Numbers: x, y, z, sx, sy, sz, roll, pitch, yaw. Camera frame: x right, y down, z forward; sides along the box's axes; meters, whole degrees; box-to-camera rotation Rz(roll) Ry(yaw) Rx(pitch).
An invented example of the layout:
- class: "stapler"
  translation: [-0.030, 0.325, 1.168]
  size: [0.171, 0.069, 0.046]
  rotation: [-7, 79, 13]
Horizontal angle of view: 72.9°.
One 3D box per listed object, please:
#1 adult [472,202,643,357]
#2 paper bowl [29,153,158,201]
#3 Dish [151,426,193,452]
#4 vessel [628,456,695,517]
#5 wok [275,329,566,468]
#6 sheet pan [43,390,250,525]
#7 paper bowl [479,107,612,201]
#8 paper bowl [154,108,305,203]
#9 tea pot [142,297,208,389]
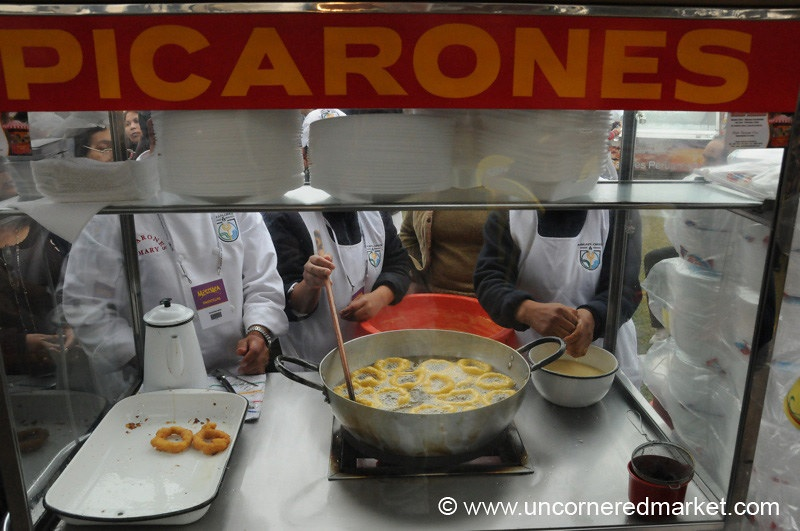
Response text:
- class: "adult"
  translation: [0.521, 0.126, 1.731]
  size: [0.492, 0.674, 0.423]
  rotation: [-6, 14, 10]
- class: "paper bowl"
  translation: [-0.651, -0.180, 1.178]
  size: [0.146, 0.054, 0.147]
  rotation: [0, 13, 0]
- class: "Dish"
  translation: [-0.570, 0.441, 1.357]
  size: [0.066, 0.022, 0.067]
  rotation: [10, 14, 23]
- class: "vessel"
  translation: [0.605, 0.514, 1.253]
  size: [0.133, 0.091, 0.119]
  rotation: [-1, 10, 24]
- class: "wok"
  translation: [0.042, 0.315, 1.349]
  size: [0.678, 0.304, 0.296]
  rotation: [2, -5, -14]
- class: "sheet pan"
  translation: [-0.595, 0.459, 1.323]
  size: [0.378, 0.258, 0.293]
  rotation: [0, -5, 1]
- class: "paper bowl"
  translation: [0.322, -0.225, 1.180]
  size: [0.183, 0.172, 0.243]
  rotation: [7, 11, 44]
- class: "paper bowl"
  translation: [-0.356, -0.236, 1.139]
  size: [0.229, 0.164, 0.224]
  rotation: [-1, 9, 0]
- class: "tea pot"
  translation: [-0.646, 0.216, 1.538]
  size: [0.174, 0.238, 0.220]
  rotation: [-8, 18, -29]
